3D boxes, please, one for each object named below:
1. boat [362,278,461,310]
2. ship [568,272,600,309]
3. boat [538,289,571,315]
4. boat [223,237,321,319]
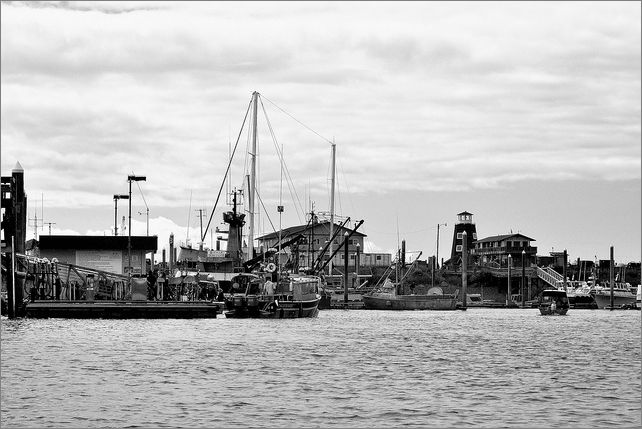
[{"bbox_3d":[9.667,8.701,154.402,12.142,4.220,3.911,4,-4,-15],"label":"boat"},{"bbox_3d":[32.052,9.938,170.889,3.474,3.655,6.861,1,-6,10],"label":"ship"},{"bbox_3d":[24.458,9.384,146.435,2.522,2.413,3.187,1,-1,6],"label":"boat"},{"bbox_3d":[-3.892,7.362,124.929,9.076,4.267,11.440,4,-6,-19],"label":"boat"}]
